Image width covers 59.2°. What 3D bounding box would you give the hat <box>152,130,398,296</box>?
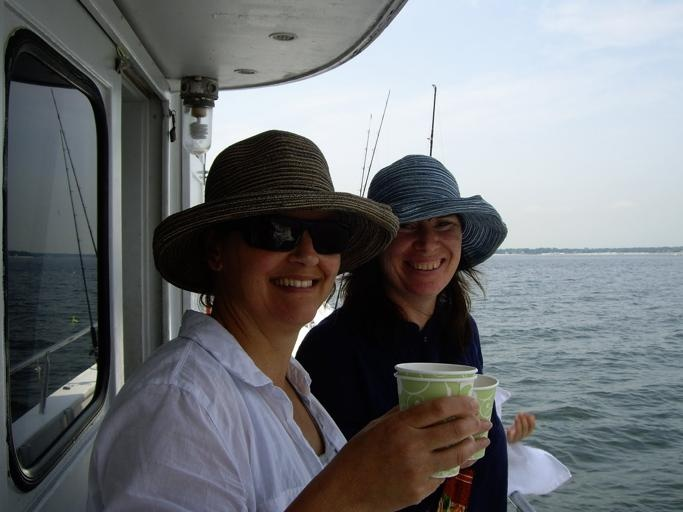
[{"bbox_3d":[-0.304,-0.060,2.370,0.684,0.754,0.668,13,4,-23],"label":"hat"}]

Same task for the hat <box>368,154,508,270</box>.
[{"bbox_3d":[0.478,-0.209,3.062,0.511,0.536,0.495,8,7,-15],"label":"hat"}]

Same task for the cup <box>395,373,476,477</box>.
[{"bbox_3d":[0.296,0.511,1.920,0.254,0.335,0.290,0,1,-7],"label":"cup"}]
